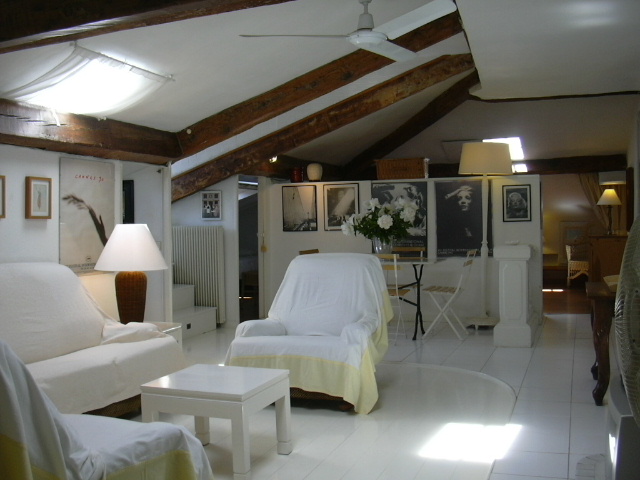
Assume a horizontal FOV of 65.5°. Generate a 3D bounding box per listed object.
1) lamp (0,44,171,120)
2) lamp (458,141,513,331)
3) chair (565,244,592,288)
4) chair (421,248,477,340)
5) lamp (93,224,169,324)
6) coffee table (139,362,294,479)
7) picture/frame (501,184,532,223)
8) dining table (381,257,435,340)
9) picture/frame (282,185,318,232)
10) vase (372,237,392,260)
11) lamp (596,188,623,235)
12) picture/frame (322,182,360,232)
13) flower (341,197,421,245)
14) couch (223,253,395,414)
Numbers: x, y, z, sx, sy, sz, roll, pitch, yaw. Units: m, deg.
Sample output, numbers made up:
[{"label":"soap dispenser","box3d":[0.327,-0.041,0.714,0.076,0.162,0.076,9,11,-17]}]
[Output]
[{"label":"lamp","box3d":[-1.956,-1.311,4.253,0.787,0.373,1.154,0,3,27]},{"label":"lamp","box3d":[2.343,-0.039,6.991,0.668,2.615,0.817,0,4,21]},{"label":"chair","box3d":[5.820,0.570,11.343,0.779,1.188,0.820,-1,2,25]},{"label":"chair","box3d":[1.742,0.718,6.781,0.681,1.198,0.691,1,3,11]},{"label":"lamp","box3d":[-1.852,0.350,4.861,0.616,1.013,0.648,0,0,19]},{"label":"coffee table","box3d":[-0.635,1.079,3.341,0.687,0.559,0.726,-2,-2,32]},{"label":"picture/frame","box3d":[2.827,-0.534,7.095,0.505,0.763,0.034,0,-2,13]},{"label":"dining table","box3d":[1.195,0.777,6.965,0.902,0.921,0.801,-14,-5,-12]},{"label":"picture/frame","box3d":[-0.299,-0.521,7.981,0.680,0.982,0.033,0,2,9]},{"label":"vase","box3d":[0.805,0.097,6.388,0.231,0.242,0.227,2,-2,9]},{"label":"lamp","box3d":[6.432,-0.627,11.037,0.529,0.973,0.561,-4,4,-5]},{"label":"picture/frame","box3d":[0.343,-0.509,7.616,0.756,1.085,0.038,1,-2,4]},{"label":"flower","box3d":[0.804,-0.243,6.405,0.765,0.598,0.848,-9,22,-20]},{"label":"couch","box3d":[-0.004,0.781,4.675,1.312,1.353,1.570,-3,-5,19]}]
